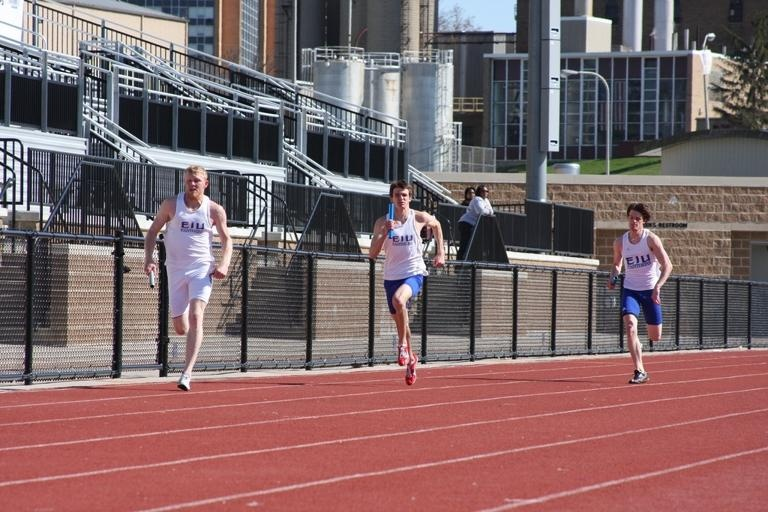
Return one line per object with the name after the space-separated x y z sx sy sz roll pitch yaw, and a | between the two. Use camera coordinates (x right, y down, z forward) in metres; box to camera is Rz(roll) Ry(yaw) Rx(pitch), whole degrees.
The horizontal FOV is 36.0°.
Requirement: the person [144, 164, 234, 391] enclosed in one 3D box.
-2.651 0.328 15.953 1.104 3.079 0.657 1 5 -11 | person

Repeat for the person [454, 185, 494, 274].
2.063 -0.786 26.852 0.730 1.617 2.333 2 5 5 | person

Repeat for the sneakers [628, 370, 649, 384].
4.066 1.920 18.891 0.144 0.209 0.406 -4 -3 38 | sneakers

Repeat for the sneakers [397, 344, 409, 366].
0.269 1.448 17.341 0.113 0.344 0.138 -1 -5 9 | sneakers

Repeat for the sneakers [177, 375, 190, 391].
-2.755 1.747 16.302 0.109 0.151 0.331 17 -13 -18 | sneakers

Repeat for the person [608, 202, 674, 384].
4.018 0.593 18.766 0.915 2.873 0.915 2 5 -3 | person

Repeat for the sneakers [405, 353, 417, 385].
0.370 1.652 17.347 0.164 0.532 0.213 0 -1 22 | sneakers

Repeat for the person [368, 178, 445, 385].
0.253 0.420 17.641 0.858 3.102 0.982 3 5 10 | person
